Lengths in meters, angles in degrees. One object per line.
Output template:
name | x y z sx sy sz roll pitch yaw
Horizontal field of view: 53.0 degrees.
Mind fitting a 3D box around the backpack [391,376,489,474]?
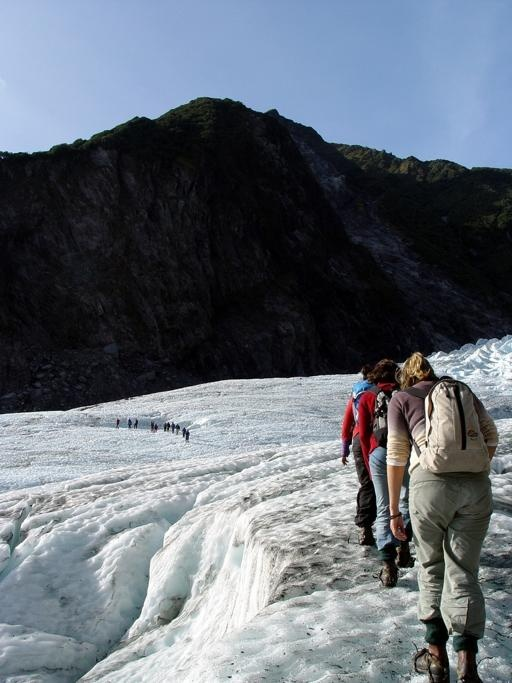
backpack | 1.070 0.479 2.871 0.432 0.532 0.534 1 -18 -3

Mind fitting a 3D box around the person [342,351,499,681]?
person | 1.041 0.909 3.152 0.689 1.754 1.473 -8 -1 9

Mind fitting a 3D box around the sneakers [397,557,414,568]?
sneakers | 1.112 1.642 3.819 0.113 0.037 0.082 -9 -23 41

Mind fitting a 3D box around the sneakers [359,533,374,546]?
sneakers | 0.934 1.668 4.384 0.128 0.116 0.115 -2 -14 4

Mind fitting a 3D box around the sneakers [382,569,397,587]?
sneakers | 0.945 1.655 3.641 0.097 0.115 0.047 -1 -1 21
